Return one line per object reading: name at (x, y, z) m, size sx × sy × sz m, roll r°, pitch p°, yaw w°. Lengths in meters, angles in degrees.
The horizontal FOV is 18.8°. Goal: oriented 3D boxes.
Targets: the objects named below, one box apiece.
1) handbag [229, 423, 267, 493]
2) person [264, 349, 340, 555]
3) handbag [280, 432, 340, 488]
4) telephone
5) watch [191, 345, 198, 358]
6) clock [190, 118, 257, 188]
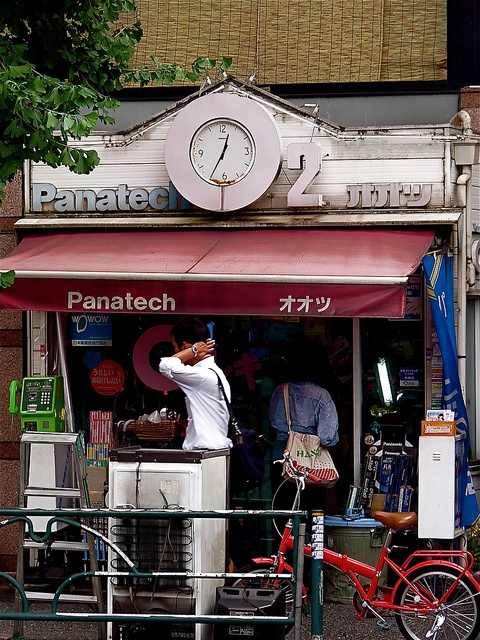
handbag at (0.055, 1.057, 10.949) m, size 0.232 × 0.501 × 0.258 m, roll 1°, pitch 4°, yaw 7°
person at (0.525, 1.109, 12.096) m, size 0.630 × 1.643 × 0.697 m, roll 0°, pitch 5°, yaw 4°
handbag at (0.573, 1.104, 11.468) m, size 0.338 × 0.431 × 0.379 m, roll 1°, pitch 3°, yaw 17°
telephone at (-1.594, 0.679, 11.629) m, size 0.332 × 0.613 × 0.453 m, roll -2°, pitch -5°, yaw 10°
watch at (-0.320, 0.221, 10.240) m, size 0.019 × 0.058 × 0.057 m, roll -3°, pitch 26°, yaw 5°
clock at (-0.125, -1.401, 12.223) m, size 0.490 × 0.610 × 0.056 m, roll 0°, pitch -1°, yaw 14°
